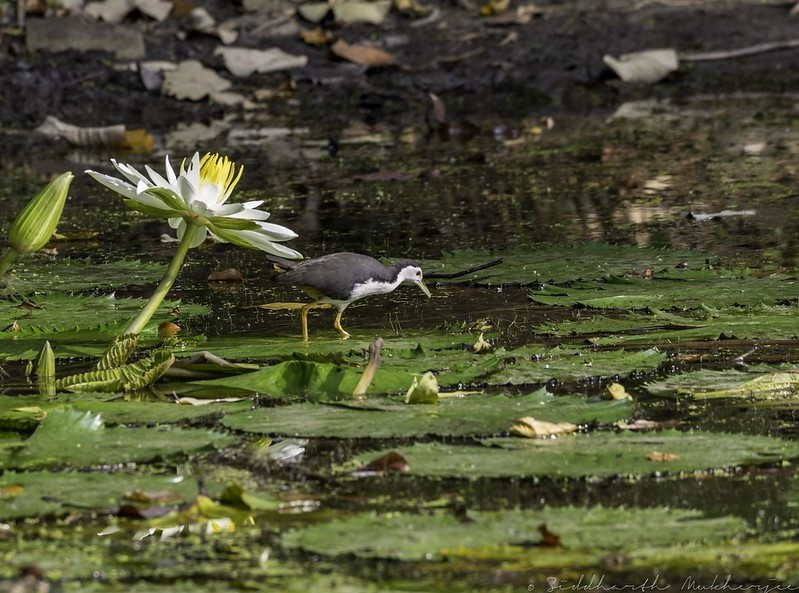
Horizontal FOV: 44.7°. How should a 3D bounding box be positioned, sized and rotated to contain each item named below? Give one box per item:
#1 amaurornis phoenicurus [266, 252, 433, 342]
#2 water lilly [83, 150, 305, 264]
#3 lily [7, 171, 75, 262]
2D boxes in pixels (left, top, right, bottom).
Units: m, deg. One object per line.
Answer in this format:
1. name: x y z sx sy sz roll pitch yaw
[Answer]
1. amaurornis phoenicurus: -0.209 -0.026 2.968 0.557 0.247 0.514 -4 18 -19
2. water lilly: -0.458 -0.220 2.338 0.509 0.169 0.457 26 -14 -28
3. lily: -0.802 -0.187 2.181 0.144 0.182 0.163 -6 3 -16
